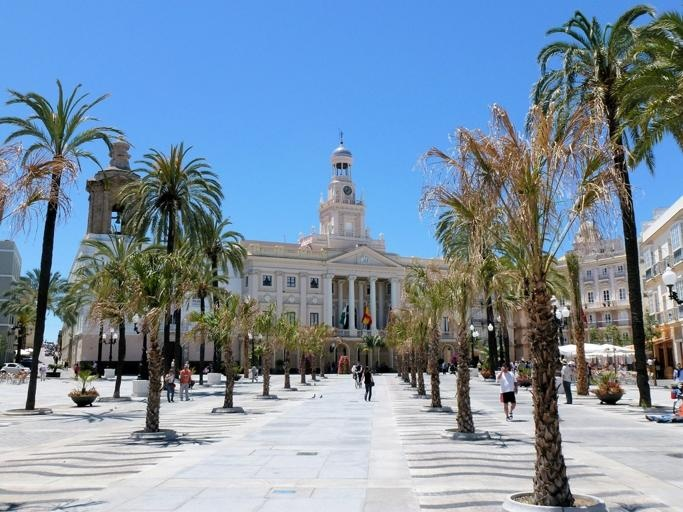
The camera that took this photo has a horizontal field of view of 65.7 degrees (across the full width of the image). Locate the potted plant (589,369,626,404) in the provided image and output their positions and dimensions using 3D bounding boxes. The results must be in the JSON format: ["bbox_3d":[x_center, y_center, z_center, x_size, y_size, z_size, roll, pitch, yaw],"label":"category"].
[{"bbox_3d":[13.765,6.868,27.371,1.384,1.893,1.501,-3,-6,-18],"label":"potted plant"}]

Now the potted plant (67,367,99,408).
[{"bbox_3d":[-13.282,6.850,27.351,1.051,1.536,1.066,9,5,26],"label":"potted plant"}]

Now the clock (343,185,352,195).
[{"bbox_3d":[0.920,-11.293,91.423,1.418,1.692,0.245,-1,6,-20],"label":"clock"}]
